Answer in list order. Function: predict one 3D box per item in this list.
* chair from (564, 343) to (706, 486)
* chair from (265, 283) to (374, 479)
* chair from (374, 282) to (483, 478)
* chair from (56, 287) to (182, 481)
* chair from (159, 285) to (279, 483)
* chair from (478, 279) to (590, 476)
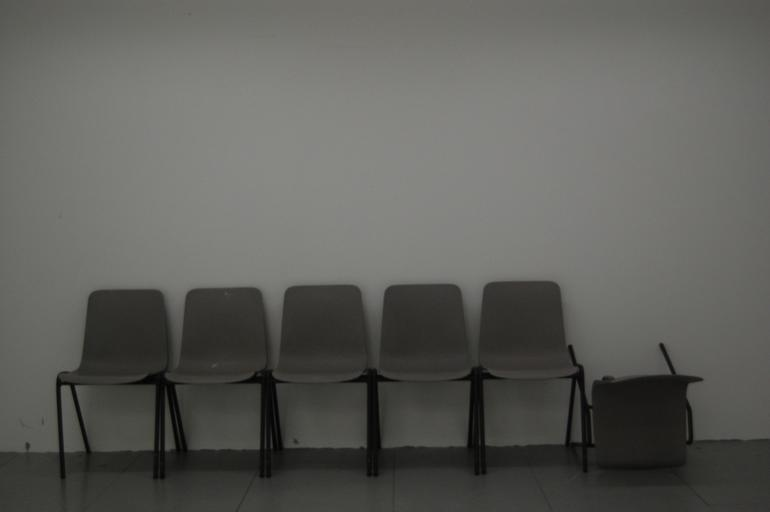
[{"bbox_3d":[1.622,1.078,4.365,0.703,0.757,0.967,-2,4,7],"label":"chair"},{"bbox_3d":[-0.440,0.840,4.372,0.734,1.278,0.502,0,0,-10],"label":"chair"},{"bbox_3d":[0.277,0.850,4.266,0.717,1.265,0.833,0,2,-1],"label":"chair"},{"bbox_3d":[-1.917,0.873,4.358,0.747,1.281,0.553,0,0,-14],"label":"chair"},{"bbox_3d":[-1.128,0.821,4.234,0.785,1.232,0.851,-1,-5,9],"label":"chair"},{"bbox_3d":[0.972,0.783,4.190,0.795,1.272,0.925,-3,-5,25],"label":"chair"}]
